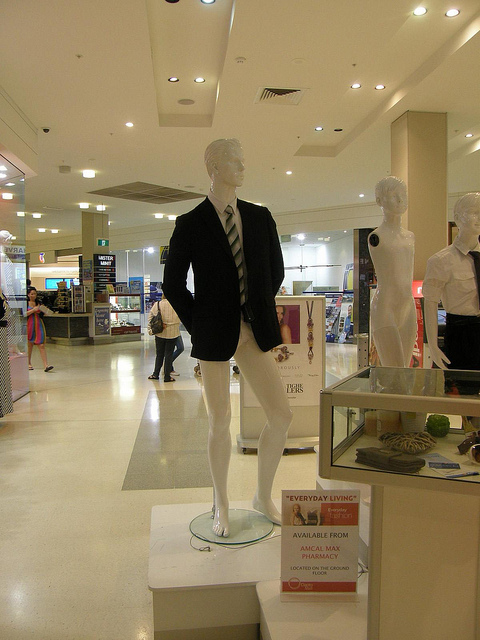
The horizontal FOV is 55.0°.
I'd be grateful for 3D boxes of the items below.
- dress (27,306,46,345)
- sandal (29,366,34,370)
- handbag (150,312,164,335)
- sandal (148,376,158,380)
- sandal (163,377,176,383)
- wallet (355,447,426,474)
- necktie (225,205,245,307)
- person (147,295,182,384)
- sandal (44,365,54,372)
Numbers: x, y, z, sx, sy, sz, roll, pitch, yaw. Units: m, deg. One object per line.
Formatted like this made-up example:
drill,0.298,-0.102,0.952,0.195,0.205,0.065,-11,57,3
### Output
dress,-3.556,0.128,8.038,0.255,0.584,0.370,0,0,-27
sandal,-3.740,0.858,8.247,0.050,0.037,0.346,0,1,-21
handbag,-1.184,0.051,6.776,0.195,0.426,0.310,-1,1,-1
sandal,-1.367,0.904,7.266,0.141,0.070,0.048,-2,-2,9
sandal,-1.059,0.910,7.108,0.137,0.061,0.282,0,1,21
wallet,0.331,0.309,1.023,0.152,0.032,0.069,0,1,29
necktie,-0.022,-0.259,1.838,0.109,0.404,0.049,0,0,45
person,-1.143,0.283,6.977,0.500,1.319,1.085,0,0,-11
sandal,-3.379,0.848,8.127,0.130,0.091,0.218,0,1,-30
